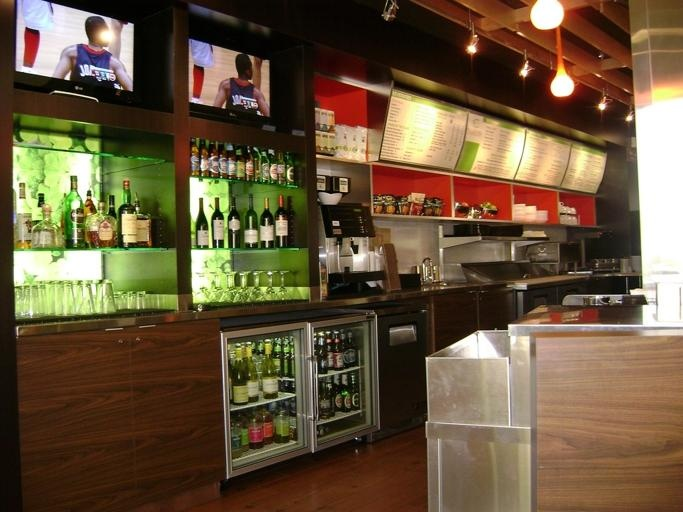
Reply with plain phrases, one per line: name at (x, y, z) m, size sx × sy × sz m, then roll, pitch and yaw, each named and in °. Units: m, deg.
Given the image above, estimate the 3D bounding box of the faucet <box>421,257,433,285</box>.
faucet at (0.932, 0.143, 6.046) m, size 0.128 × 0.265 × 0.462 m, roll -3°, pitch 2°, yaw 9°

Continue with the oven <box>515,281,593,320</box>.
oven at (2.403, 0.467, 6.495) m, size 1.556 × 0.299 × 0.297 m, roll -3°, pitch -7°, yaw -42°

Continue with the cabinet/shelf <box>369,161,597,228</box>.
cabinet/shelf at (2.100, -0.687, 7.349) m, size 0.605 × 0.680 × 5.831 m, roll -1°, pitch 2°, yaw 42°

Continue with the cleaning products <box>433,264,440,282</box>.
cleaning products at (1.050, 0.184, 6.156) m, size 0.063 × 0.171 × 0.274 m, roll -3°, pitch 2°, yaw 11°

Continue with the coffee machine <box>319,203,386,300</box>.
coffee machine at (0.050, -0.072, 4.792) m, size 0.423 × 0.777 × 0.843 m, roll -2°, pitch 2°, yaw 27°

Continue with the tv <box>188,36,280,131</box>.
tv at (-0.803, -1.243, 3.999) m, size 0.044 × 0.551 × 0.970 m, roll -6°, pitch -5°, yaw 41°

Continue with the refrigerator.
refrigerator at (-0.336, 0.984, 3.892) m, size 1.341 × 0.808 × 0.505 m, roll 1°, pitch -6°, yaw -43°

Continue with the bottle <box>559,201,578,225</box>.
bottle at (3.536, -0.677, 8.677) m, size 0.554 × 0.420 × 0.174 m, roll 1°, pitch -4°, yaw -43°

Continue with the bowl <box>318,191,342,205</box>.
bowl at (-0.111, -0.500, 4.733) m, size 0.174 × 0.065 × 0.154 m, roll 0°, pitch 1°, yaw -6°
